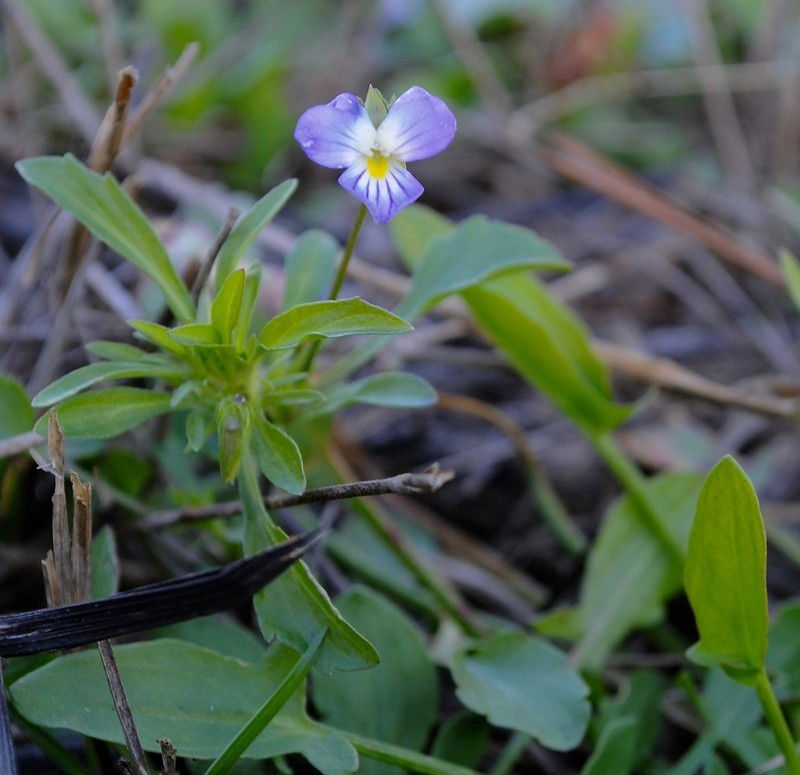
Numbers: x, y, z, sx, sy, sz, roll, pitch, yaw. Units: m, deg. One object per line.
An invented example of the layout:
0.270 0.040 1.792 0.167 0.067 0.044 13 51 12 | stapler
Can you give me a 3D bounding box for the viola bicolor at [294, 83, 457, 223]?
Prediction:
-0.020 -0.216 0.862 0.112 0.104 0.110 12 25 33 | viola bicolor
